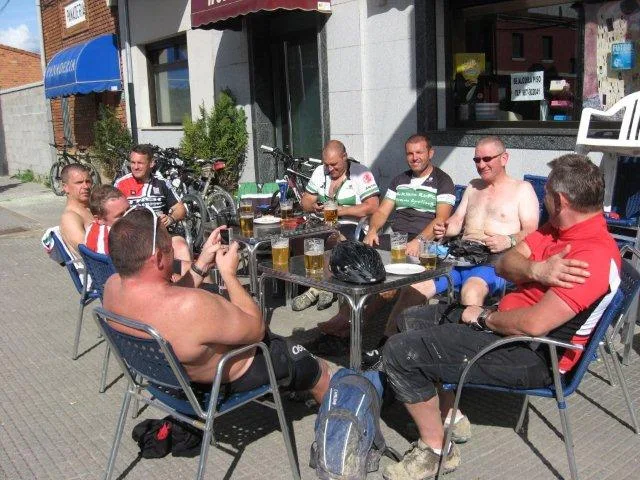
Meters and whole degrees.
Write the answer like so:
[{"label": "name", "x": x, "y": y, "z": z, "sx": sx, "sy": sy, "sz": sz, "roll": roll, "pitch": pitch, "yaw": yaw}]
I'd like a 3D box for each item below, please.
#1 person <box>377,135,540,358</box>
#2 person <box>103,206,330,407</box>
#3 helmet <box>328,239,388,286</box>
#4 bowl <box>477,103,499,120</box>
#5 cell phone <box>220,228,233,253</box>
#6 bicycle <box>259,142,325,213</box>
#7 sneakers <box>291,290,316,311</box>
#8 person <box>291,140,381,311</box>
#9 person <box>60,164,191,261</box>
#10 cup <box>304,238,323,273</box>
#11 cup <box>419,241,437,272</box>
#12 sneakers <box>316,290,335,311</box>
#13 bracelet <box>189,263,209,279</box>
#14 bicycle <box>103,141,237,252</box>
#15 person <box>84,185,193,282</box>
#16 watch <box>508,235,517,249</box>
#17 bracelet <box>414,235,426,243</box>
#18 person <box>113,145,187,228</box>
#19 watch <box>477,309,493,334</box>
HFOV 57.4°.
[{"label": "person", "x": 1.232, "y": 0.071, "z": 4.934, "sx": 1.388, "sy": 2.032, "sz": 1.019, "roll": 2, "pitch": 3, "yaw": -40}, {"label": "person", "x": -0.676, "y": 0.419, "z": 3.656, "sx": 1.165, "sy": 1.331, "sz": 0.773, "roll": -12, "pitch": 16, "yaw": -36}, {"label": "helmet", "x": 0.255, "y": 0.138, "z": 4.161, "sx": 0.395, "sy": 0.249, "sz": 0.581, "roll": -5, "pitch": 13, "yaw": -14}, {"label": "bowl", "x": 2.029, "y": -1.536, "z": 7.024, "sx": 0.204, "sy": 0.169, "sz": 0.213, "roll": 0, "pitch": 15, "yaw": 0}, {"label": "cell phone", "x": -0.688, "y": -0.001, "z": 4.328, "sx": 0.029, "sy": 0.143, "sz": 0.181, "roll": -12, "pitch": 16, "yaw": -25}, {"label": "bicycle", "x": -0.391, "y": -0.945, "z": 8.050, "sx": 0.744, "sy": 0.846, "sz": 1.224, "roll": -11, "pitch": 26, "yaw": -32}, {"label": "sneakers", "x": -0.158, "y": 0.629, "z": 6.195, "sx": 0.127, "sy": 0.126, "sz": 0.319, "roll": 43, "pitch": 22, "yaw": 12}, {"label": "person", "x": 0.144, "y": -0.180, "z": 6.306, "sx": 0.829, "sy": 1.680, "sz": 1.171, "roll": 6, "pitch": 18, "yaw": 26}, {"label": "person", "x": -1.491, "y": -0.346, "z": 4.860, "sx": 0.689, "sy": 1.187, "sz": 1.033, "roll": -4, "pitch": -1, "yaw": -5}, {"label": "cup", "x": -0.038, "y": 0.104, "z": 4.288, "sx": 0.138, "sy": 0.261, "sz": 0.149, "roll": -1, "pitch": 15, "yaw": 0}, {"label": "cup", "x": 0.794, "y": 0.121, "z": 4.261, "sx": 0.158, "sy": 0.217, "sz": 0.126, "roll": -5, "pitch": 8, "yaw": 0}, {"label": "sneakers", "x": 0.068, "y": 0.641, "z": 6.227, "sx": 0.092, "sy": 0.119, "sz": 0.268, "roll": -24, "pitch": -4, "yaw": 16}, {"label": "bracelet", "x": -0.849, "y": 0.208, "z": 4.097, "sx": 0.093, "sy": 0.038, "sz": 0.103, "roll": 31, "pitch": -18, "yaw": 9}, {"label": "bicycle", "x": -1.994, "y": -0.598, "z": 7.474, "sx": 1.108, "sy": 1.306, "sz": 1.887, "roll": -29, "pitch": 23, "yaw": -32}, {"label": "person", "x": -1.663, "y": -0.030, "z": 5.076, "sx": 0.715, "sy": 0.859, "sz": 0.541, "roll": -3, "pitch": 17, "yaw": 10}, {"label": "watch", "x": 1.540, "y": 0.017, "z": 4.658, "sx": 0.057, "sy": 0.098, "sz": 0.082, "roll": 10, "pitch": -26, "yaw": -13}, {"label": "bracelet", "x": 0.764, "y": -0.009, "z": 4.375, "sx": 0.082, "sy": 0.047, "sz": 0.103, "roll": 4, "pitch": 7, "yaw": 33}, {"label": "person", "x": -2.015, "y": -0.502, "z": 6.703, "sx": 0.770, "sy": 1.232, "sz": 0.667, "roll": -3, "pitch": 44, "yaw": -12}, {"label": "watch", "x": 1.024, "y": 0.501, "z": 3.611, "sx": 0.041, "sy": 0.121, "sz": 0.084, "roll": 15, "pitch": 13, "yaw": 18}]
